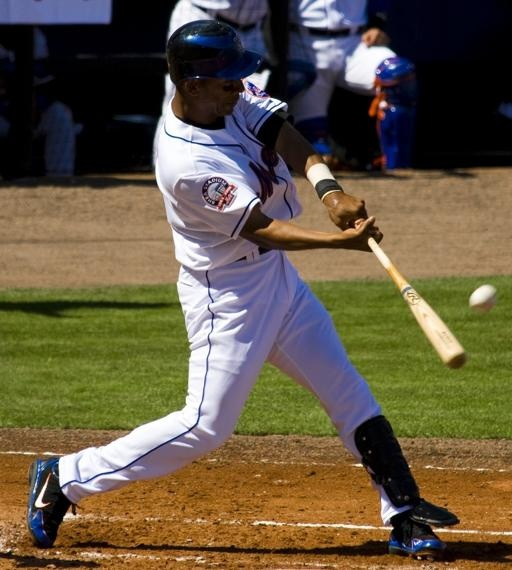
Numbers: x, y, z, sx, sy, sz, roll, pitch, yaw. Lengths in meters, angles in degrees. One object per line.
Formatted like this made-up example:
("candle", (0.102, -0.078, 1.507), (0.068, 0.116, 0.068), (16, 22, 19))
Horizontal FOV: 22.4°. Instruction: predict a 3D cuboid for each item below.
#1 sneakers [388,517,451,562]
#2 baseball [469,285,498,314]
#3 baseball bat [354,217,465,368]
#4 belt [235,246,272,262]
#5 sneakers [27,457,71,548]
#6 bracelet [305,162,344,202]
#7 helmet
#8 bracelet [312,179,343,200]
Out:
("sneakers", (0.696, 1.151, 6.078), (0.268, 0.162, 0.094), (12, -1, -24))
("baseball", (1.160, 0.058, 6.658), (0.131, 0.096, 0.129), (-36, -10, 0))
("baseball bat", (1.117, 0.070, 9.521), (0.197, 1.585, 0.178), (-38, -29, -1))
("belt", (-0.005, -0.146, 6.072), (0.104, 0.024, 0.077), (-21, 1, 40))
("sneakers", (-0.966, 1.019, 6.282), (0.237, 0.458, 0.163), (-5, -8, 6))
("bracelet", (0.324, -0.498, 6.170), (0.133, 0.200, 0.087), (-21, -18, -22))
("helmet", (-0.192, -1.106, 6.041), (0.499, 0.222, 0.359), (-1, 33, 10))
("bracelet", (0.349, -0.443, 6.162), (0.085, 0.105, 0.103), (16, 57, 33))
